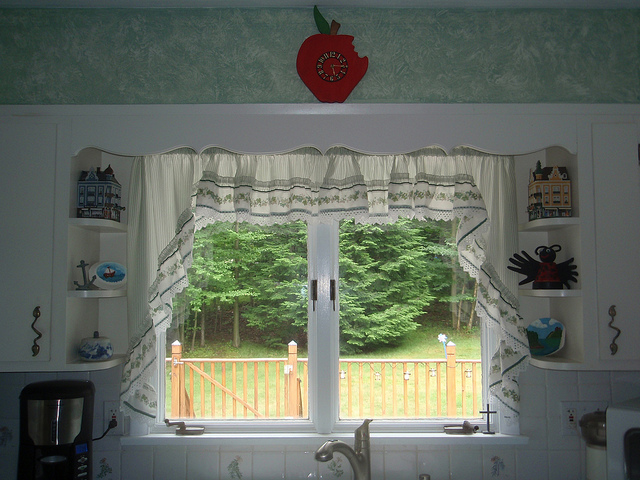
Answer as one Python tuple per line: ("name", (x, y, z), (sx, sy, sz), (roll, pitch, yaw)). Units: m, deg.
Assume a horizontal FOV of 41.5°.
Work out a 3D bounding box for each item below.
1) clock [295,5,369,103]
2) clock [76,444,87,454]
("clock", (0.041, -0.897, 4.145), (0.432, 0.623, 0.050), (0, -2, -5))
("clock", (-1.129, 0.978, 3.969), (0.056, 0.042, 0.031), (5, -9, -26))
